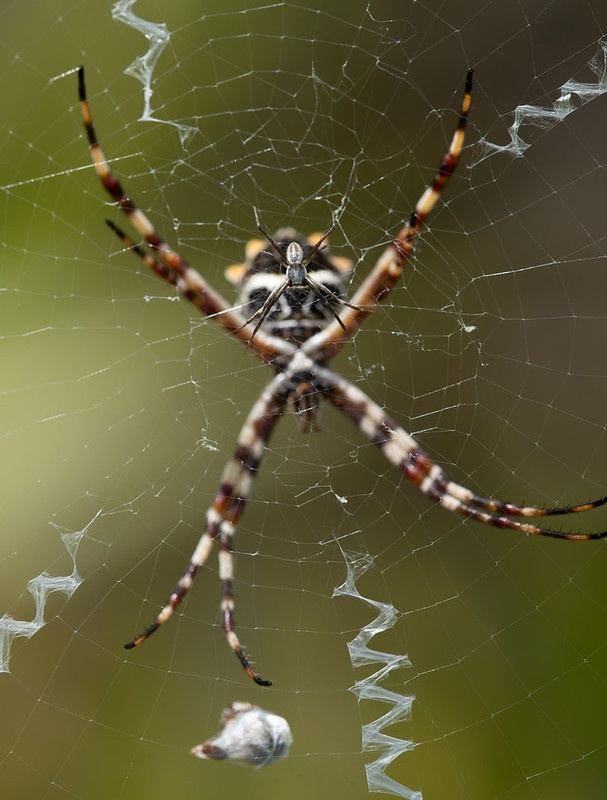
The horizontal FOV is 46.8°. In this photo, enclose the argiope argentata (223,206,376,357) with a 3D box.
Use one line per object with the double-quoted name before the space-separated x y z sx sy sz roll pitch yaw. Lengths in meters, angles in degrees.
"argiope argentata" -0.087 -0.642 3.906 0.807 0.246 0.734 -8 -92 4
